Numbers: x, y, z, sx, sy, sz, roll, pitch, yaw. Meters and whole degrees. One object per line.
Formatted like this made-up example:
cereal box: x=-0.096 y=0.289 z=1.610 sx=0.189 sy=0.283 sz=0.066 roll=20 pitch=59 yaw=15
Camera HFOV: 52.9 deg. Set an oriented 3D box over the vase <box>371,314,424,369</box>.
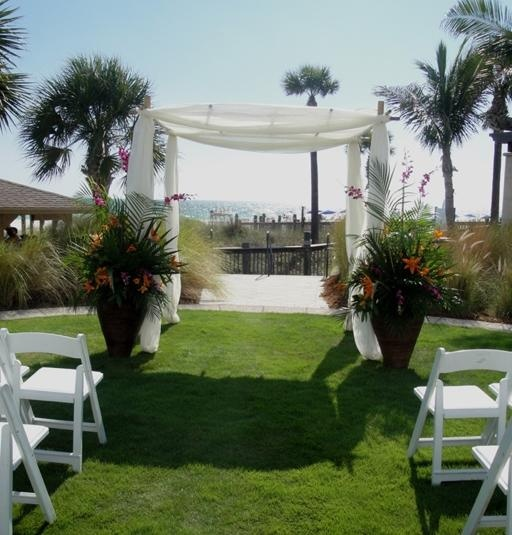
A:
vase: x=1.316 y=0.667 z=4.903 sx=0.458 sy=0.580 sz=0.514 roll=1 pitch=-2 yaw=0
